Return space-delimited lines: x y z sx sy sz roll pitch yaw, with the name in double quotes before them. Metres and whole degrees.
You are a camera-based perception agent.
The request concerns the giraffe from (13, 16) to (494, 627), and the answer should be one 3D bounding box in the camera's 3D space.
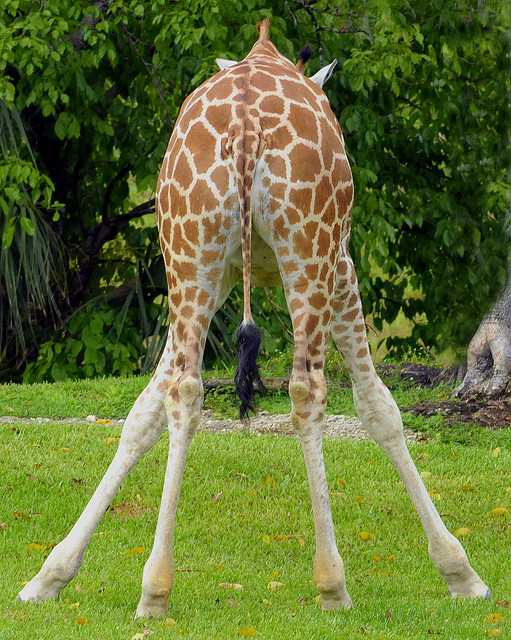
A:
"giraffe" 0.224 -0.026 7.550 2.114 4.073 4.318 -5 -3 9
